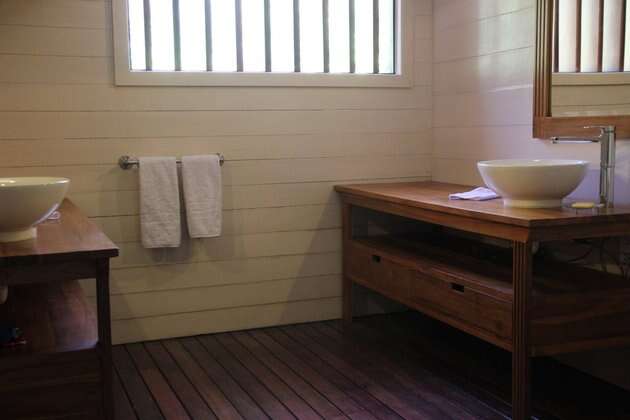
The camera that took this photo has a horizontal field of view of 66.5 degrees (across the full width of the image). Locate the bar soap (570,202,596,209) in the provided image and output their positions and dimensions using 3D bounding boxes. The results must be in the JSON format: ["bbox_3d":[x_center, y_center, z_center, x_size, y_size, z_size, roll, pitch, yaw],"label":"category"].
[{"bbox_3d":[1.295,-0.021,2.308,0.107,0.025,0.063,2,12,16],"label":"bar soap"}]

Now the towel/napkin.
[{"bbox_3d":[-0.910,-0.082,3.195,0.663,0.675,0.106,-3,3,-22],"label":"towel/napkin"}]

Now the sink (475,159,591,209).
[{"bbox_3d":[1.149,-0.135,2.507,0.520,0.210,0.533,4,9,42],"label":"sink"}]
